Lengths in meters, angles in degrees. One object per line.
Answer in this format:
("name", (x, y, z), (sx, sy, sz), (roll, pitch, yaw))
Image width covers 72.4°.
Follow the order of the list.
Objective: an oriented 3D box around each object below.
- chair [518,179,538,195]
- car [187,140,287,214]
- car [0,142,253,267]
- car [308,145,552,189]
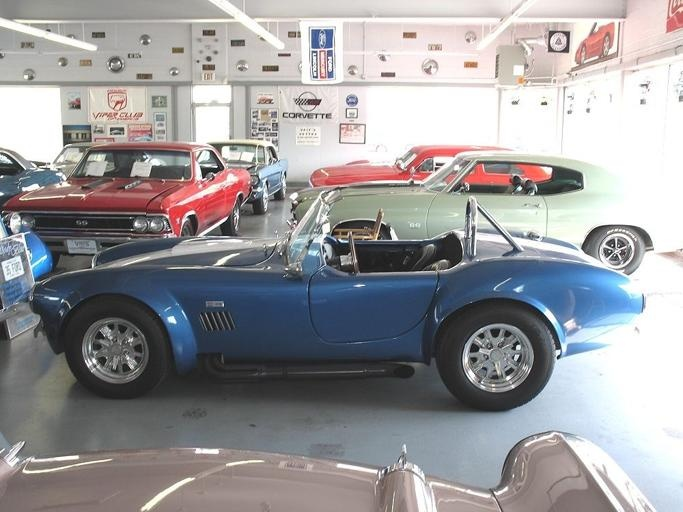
("chair", (2.353, -0.865, 5.905), (0.151, 0.153, 0.114), (46, -3, -39))
("car", (-2.111, -2.087, 11.496), (1.225, 1.003, 2.661), (2, 6, 9))
("car", (-2.579, -0.805, 6.774), (1.491, 0.943, 2.591), (1, 7, 9))
("car", (1.192, -1.632, 8.649), (3.566, 1.184, 1.671), (1, 11, 5))
